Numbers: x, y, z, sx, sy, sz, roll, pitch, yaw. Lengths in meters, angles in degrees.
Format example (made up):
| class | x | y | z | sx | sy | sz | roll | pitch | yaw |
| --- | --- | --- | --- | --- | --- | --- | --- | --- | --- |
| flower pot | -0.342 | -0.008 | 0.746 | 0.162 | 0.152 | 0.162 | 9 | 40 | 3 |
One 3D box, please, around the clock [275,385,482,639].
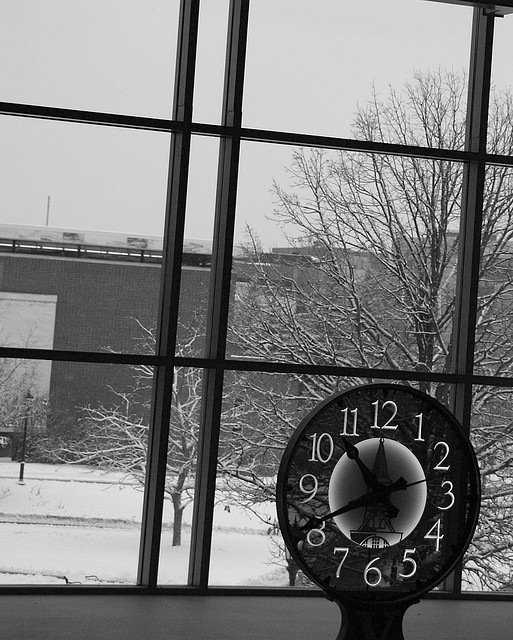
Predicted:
| class | x | y | z | sx | sy | sz | roll | pitch | yaw |
| --- | --- | --- | --- | --- | --- | --- | --- | --- | --- |
| clock | 0.587 | 0.948 | 5.495 | 1.093 | 1.220 | 0.585 | 2 | -8 | -13 |
